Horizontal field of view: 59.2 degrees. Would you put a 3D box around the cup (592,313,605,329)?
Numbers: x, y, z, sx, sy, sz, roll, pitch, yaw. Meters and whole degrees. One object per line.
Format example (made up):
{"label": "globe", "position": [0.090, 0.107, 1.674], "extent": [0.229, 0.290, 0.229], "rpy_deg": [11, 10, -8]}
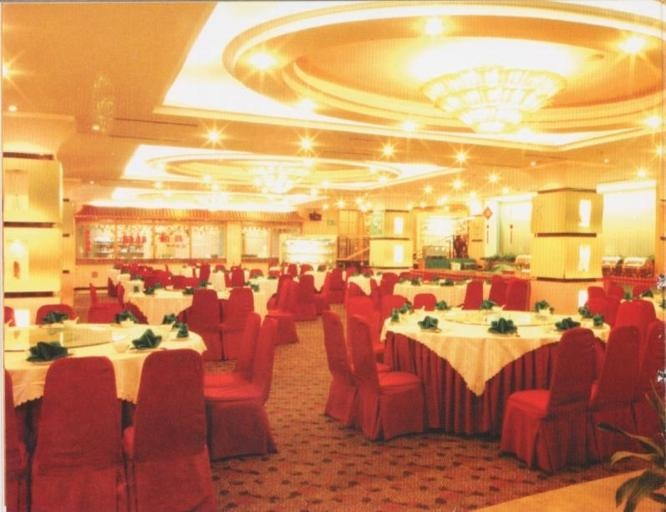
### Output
{"label": "cup", "position": [2.476, 0.599, 5.474], "extent": [0.107, 0.144, 0.117], "rpy_deg": [0, -5, 0]}

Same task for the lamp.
{"label": "lamp", "position": [1.243, -1.855, 6.105], "extent": [4.584, 0.973, 2.497], "rpy_deg": [-2, 9, -12]}

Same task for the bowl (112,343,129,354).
{"label": "bowl", "position": [-1.603, 0.684, 4.441], "extent": [0.108, 0.084, 0.134], "rpy_deg": [-3, 10, -21]}

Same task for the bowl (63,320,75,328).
{"label": "bowl", "position": [-2.344, 0.605, 5.197], "extent": [0.065, 0.038, 0.072], "rpy_deg": [-1, -9, 14]}
